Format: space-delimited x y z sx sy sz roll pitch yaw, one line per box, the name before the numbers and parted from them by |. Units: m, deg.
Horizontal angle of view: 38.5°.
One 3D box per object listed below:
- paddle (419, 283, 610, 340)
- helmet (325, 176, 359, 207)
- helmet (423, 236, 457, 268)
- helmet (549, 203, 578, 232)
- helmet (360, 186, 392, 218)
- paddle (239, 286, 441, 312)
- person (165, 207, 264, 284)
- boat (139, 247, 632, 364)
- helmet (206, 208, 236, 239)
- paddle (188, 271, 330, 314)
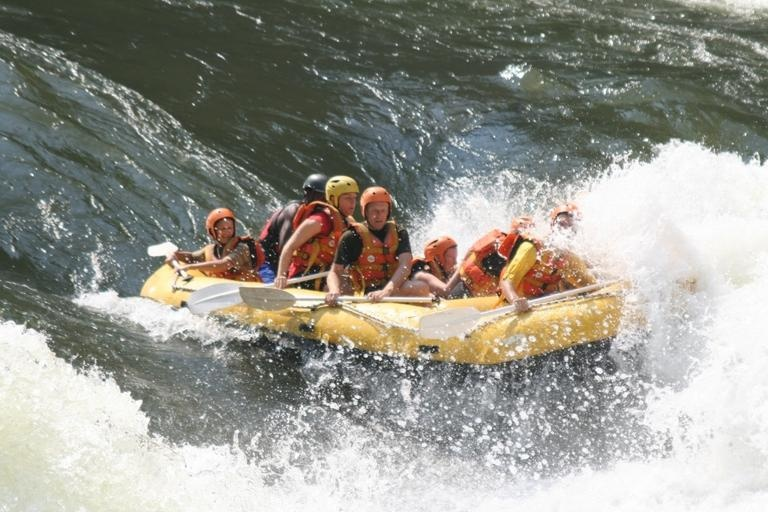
paddle | 1.663 0.697 13.232 2.062 0.083 0.281 -15 103 -1
helmet | -0.561 -0.851 14.615 0.447 0.340 0.391 -7 97 12
helmet | 0.759 -0.047 14.542 0.427 0.323 0.384 -2 78 1
helmet | 2.256 -0.489 13.562 0.277 0.359 0.308 9 65 -2
helmet | -0.083 -0.733 14.203 0.333 0.415 0.369 5 55 -7
paddle | -0.569 0.551 13.717 2.375 0.108 0.406 3 78 7
person | -2.113 -0.111 14.720 0.822 1.278 0.724 -5 90 -16
boat | 0.324 0.813 13.447 4.003 1.943 0.659 4 98 24
helmet | -2.214 -0.488 14.881 0.359 0.432 0.380 7 53 -22
paddle | -1.579 0.518 13.646 1.885 0.139 0.477 -3 104 18
